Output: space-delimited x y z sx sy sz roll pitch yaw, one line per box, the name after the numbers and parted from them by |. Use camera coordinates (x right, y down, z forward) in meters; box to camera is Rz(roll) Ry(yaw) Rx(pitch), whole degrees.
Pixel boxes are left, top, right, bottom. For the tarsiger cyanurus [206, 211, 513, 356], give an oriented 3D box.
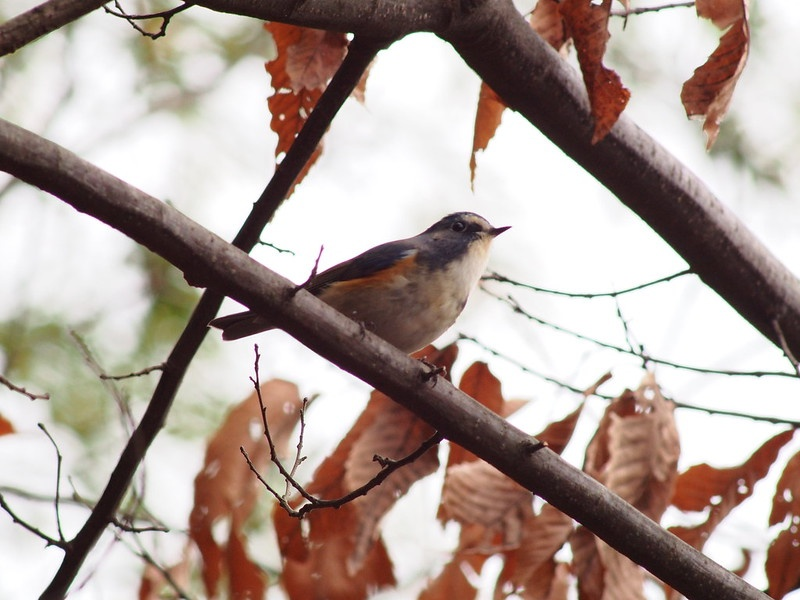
-0.245 -0.025 5.712 1.066 0.688 0.428 4 -43 3 | tarsiger cyanurus
